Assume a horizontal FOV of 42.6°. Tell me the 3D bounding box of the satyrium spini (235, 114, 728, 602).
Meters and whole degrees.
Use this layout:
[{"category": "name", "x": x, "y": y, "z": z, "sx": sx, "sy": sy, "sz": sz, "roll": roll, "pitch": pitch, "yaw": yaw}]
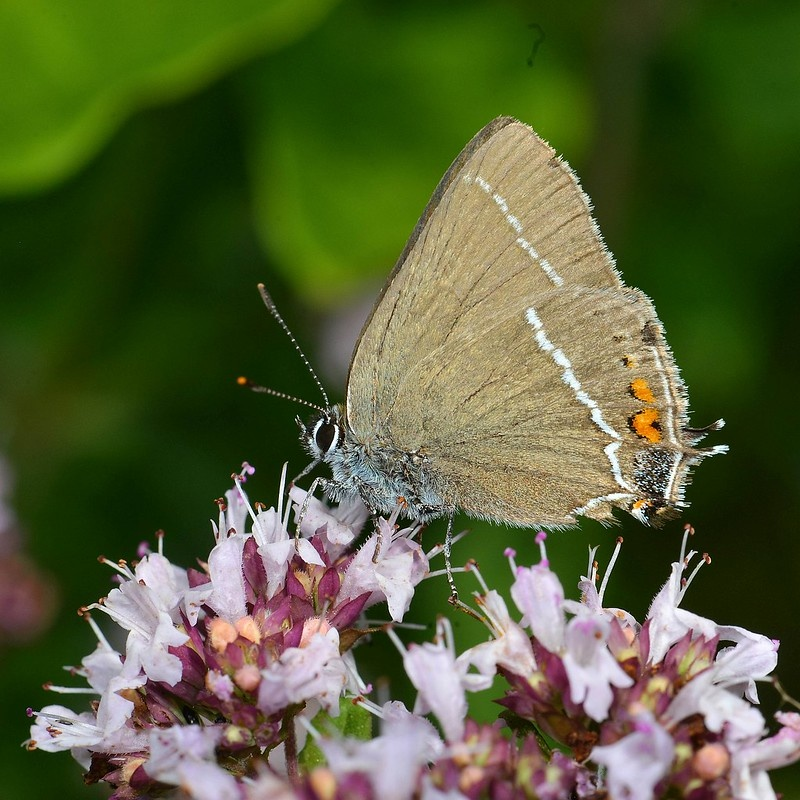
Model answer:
[{"category": "satyrium spini", "x": 0.304, "y": -0.160, "z": 3.652, "sx": 1.285, "sy": 1.817, "sz": 0.882, "roll": -1, "pitch": 5, "yaw": -27}]
